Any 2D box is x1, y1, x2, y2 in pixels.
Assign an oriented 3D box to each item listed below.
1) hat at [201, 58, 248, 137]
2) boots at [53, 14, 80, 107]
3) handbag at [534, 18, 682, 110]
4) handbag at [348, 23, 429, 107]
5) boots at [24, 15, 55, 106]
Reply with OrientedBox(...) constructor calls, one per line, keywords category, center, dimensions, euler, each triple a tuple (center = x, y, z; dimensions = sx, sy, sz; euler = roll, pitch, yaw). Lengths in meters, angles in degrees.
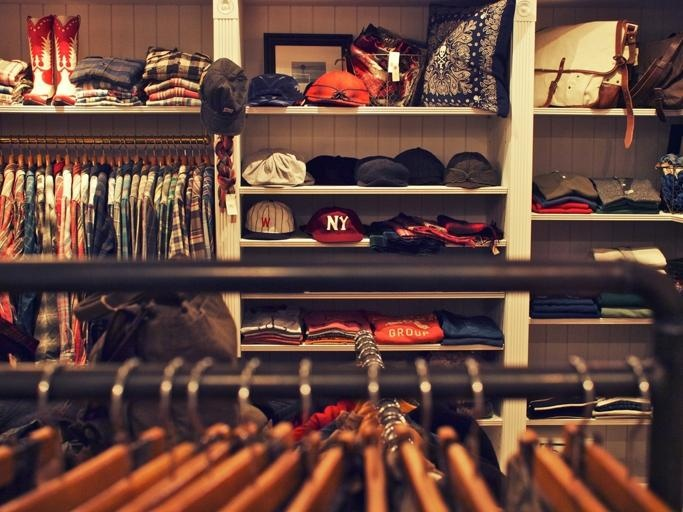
OrientedBox(category="hat", center=(-0.515, -0.708, 3.502), dimensions=(0.213, 0.334, 0.199), euler=(2, -12, -9))
OrientedBox(category="boots", center=(-1.302, -0.913, 3.745), dimensions=(0.125, 0.462, 0.152), euler=(5, -12, -23))
OrientedBox(category="handbag", center=(1.202, -0.867, 3.662), dimensions=(0.525, 0.447, 0.201), euler=(9, -19, 31))
OrientedBox(category="handbag", center=(0.214, -0.903, 3.818), dimensions=(0.317, 0.439, 0.227), euler=(9, -22, -14))
OrientedBox(category="boots", center=(-1.439, -0.919, 3.807), dimensions=(0.141, 0.480, 0.214), euler=(5, -12, -22))
